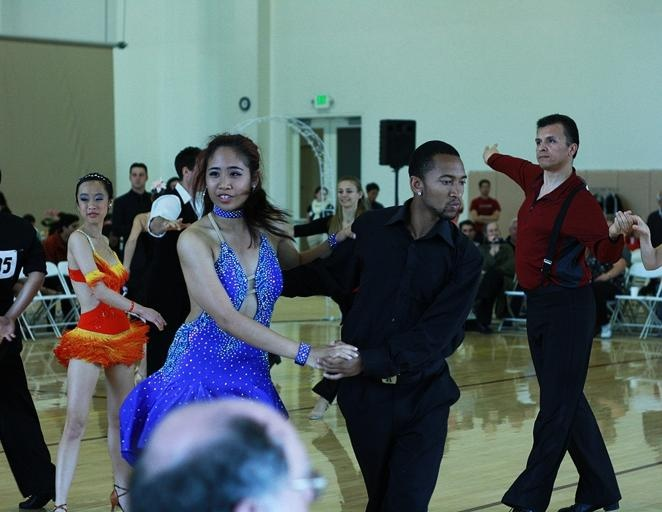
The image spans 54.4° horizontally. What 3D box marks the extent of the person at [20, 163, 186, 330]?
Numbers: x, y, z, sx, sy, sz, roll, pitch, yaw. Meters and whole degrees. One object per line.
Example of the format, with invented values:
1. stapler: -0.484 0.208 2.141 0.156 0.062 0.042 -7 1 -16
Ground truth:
1. person: -1.137 -0.038 3.323 0.597 1.244 0.770 -5 2 -19

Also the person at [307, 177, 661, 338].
1. person: 1.214 0.069 4.609 1.920 0.554 1.405 -1 -9 1

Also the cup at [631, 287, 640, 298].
1. cup: 3.996 0.467 8.433 0.111 0.130 0.122 1 -3 -1
